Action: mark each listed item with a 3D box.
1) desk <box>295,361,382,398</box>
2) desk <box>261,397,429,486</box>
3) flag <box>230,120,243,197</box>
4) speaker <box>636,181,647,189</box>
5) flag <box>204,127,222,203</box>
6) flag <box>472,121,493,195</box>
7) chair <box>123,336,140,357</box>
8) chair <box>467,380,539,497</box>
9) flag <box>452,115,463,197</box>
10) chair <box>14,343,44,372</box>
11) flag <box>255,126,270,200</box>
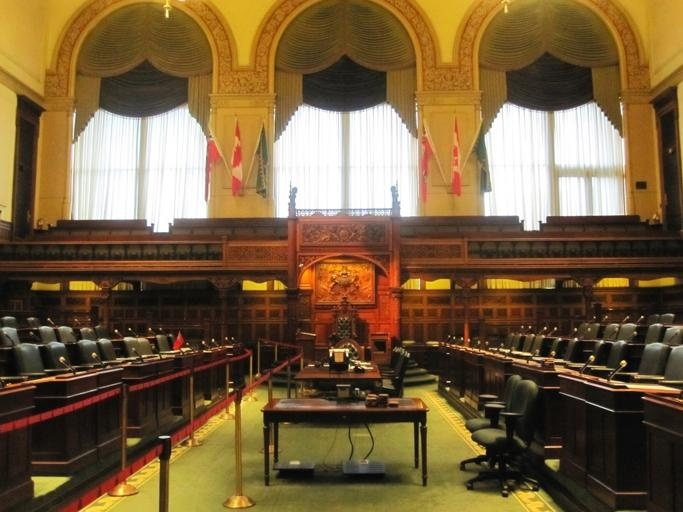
[{"bbox_3d":[-0.072,2.213,11.045,1.364,0.614,2.338,-2,-1,-2],"label":"desk"},{"bbox_3d":[0.075,2.483,8.944,2.201,0.758,1.741,-2,-1,2],"label":"desk"},{"bbox_3d":[-3.264,-3.104,19.656,0.394,2.390,0.642,-2,-1,-9],"label":"flag"},{"bbox_3d":[9.246,-2.212,19.492,0.383,0.260,0.222,0,-3,11],"label":"speaker"},{"bbox_3d":[-4.004,-2.804,19.700,0.534,2.186,1.106,-2,-1,-11],"label":"flag"},{"bbox_3d":[4.377,-3.012,19.671,0.457,1.647,0.437,-3,-1,11],"label":"flag"},{"bbox_3d":[-3.519,1.521,10.598,0.245,0.320,0.328,1,0,-7],"label":"chair"},{"bbox_3d":[2.129,2.341,8.376,0.923,1.203,1.036,-3,-1,22],"label":"chair"},{"bbox_3d":[3.514,-3.106,19.506,0.324,1.848,0.674,-3,-1,12],"label":"flag"},{"bbox_3d":[-4.228,1.391,8.529,0.185,0.502,0.311,-20,-9,11],"label":"chair"},{"bbox_3d":[-2.485,-2.945,19.777,0.438,2.202,0.295,-2,-1,-5],"label":"flag"}]
